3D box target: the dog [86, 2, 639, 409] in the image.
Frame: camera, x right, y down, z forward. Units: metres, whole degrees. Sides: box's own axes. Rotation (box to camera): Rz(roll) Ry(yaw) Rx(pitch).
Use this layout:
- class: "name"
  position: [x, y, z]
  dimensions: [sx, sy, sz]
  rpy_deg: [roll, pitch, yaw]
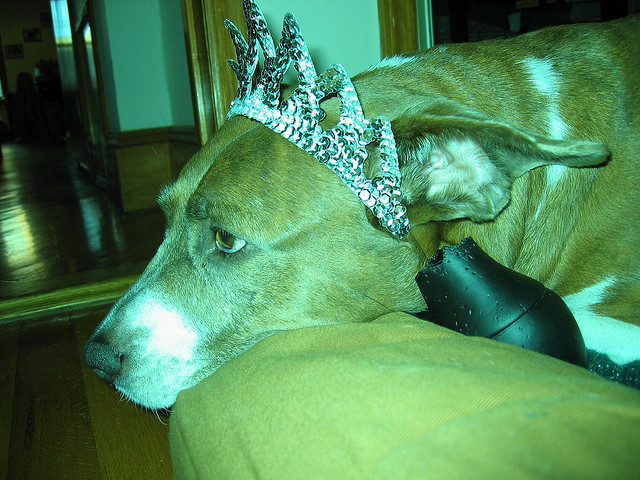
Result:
- class: "dog"
  position: [0.224, -0.096, 2.021]
  dimensions: [1.569, 0.872, 0.998]
  rpy_deg: [-26, 27, -5]
